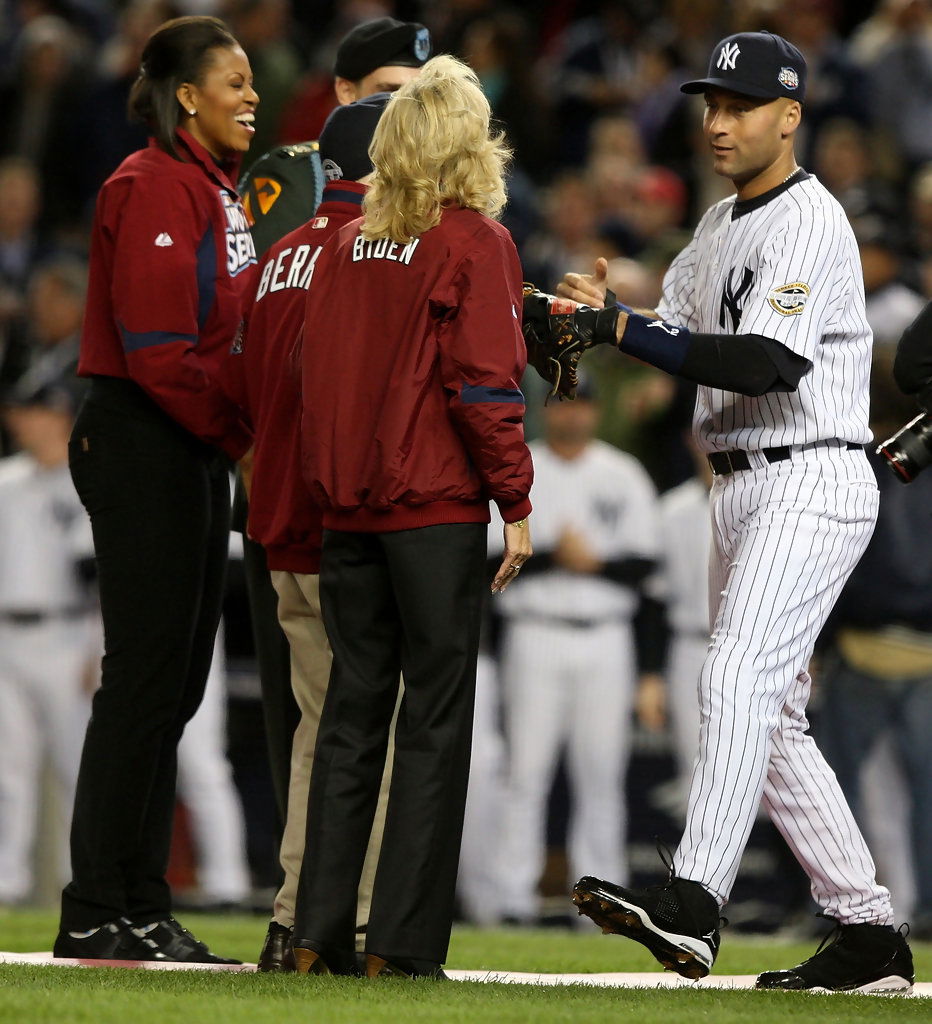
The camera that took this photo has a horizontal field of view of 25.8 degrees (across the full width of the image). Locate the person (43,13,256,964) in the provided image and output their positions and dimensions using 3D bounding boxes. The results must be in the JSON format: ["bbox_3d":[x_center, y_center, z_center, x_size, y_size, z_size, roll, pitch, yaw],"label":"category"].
[{"bbox_3d":[-0.612,-0.196,5.317,0.779,2.102,0.657,3,17,-2],"label":"person"}]

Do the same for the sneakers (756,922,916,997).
[{"bbox_3d":[0.973,1.110,5.086,0.502,0.192,0.153,3,-7,4],"label":"sneakers"}]

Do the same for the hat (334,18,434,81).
[{"bbox_3d":[-0.234,-1.306,5.751,0.264,0.114,0.172,-14,13,8],"label":"hat"}]

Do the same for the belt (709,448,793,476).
[{"bbox_3d":[0.703,-0.131,5.071,0.103,0.026,0.097,-13,2,-22],"label":"belt"}]

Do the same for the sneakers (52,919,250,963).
[{"bbox_3d":[-0.769,1.052,5.045,0.503,0.148,0.151,0,-5,-2],"label":"sneakers"}]

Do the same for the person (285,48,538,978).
[{"bbox_3d":[-0.136,0.012,4.677,0.588,2.147,0.405,7,4,-1],"label":"person"}]

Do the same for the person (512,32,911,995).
[{"bbox_3d":[0.742,-0.014,5.012,1.042,1.585,0.932,6,4,-5],"label":"person"}]

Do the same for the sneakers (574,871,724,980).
[{"bbox_3d":[0.416,0.965,4.699,0.376,0.261,0.190,6,4,-5],"label":"sneakers"}]

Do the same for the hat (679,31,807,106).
[{"bbox_3d":[0.707,-1.106,5.072,0.288,0.132,0.181,3,11,-10],"label":"hat"}]
